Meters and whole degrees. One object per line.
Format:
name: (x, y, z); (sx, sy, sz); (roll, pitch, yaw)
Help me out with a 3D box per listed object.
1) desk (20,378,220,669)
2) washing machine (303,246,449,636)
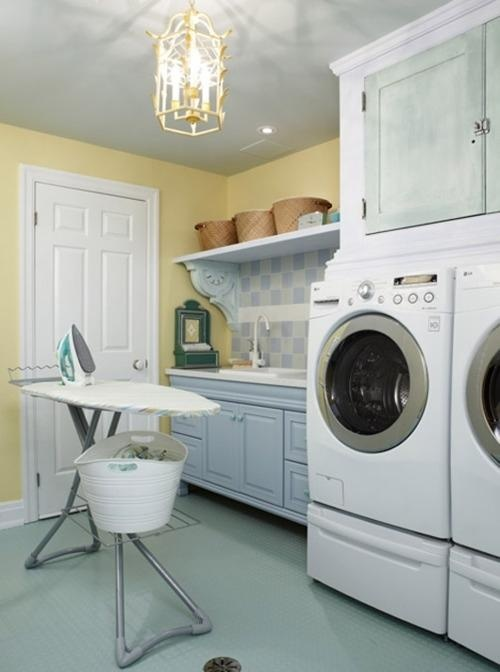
desk: (-0.394, 0.489, 1.972); (0.585, 0.963, 1.134); (-2, 2, -42)
washing machine: (0.535, 0.362, 2.051); (0.686, 1.106, 0.627); (0, 0, -40)
